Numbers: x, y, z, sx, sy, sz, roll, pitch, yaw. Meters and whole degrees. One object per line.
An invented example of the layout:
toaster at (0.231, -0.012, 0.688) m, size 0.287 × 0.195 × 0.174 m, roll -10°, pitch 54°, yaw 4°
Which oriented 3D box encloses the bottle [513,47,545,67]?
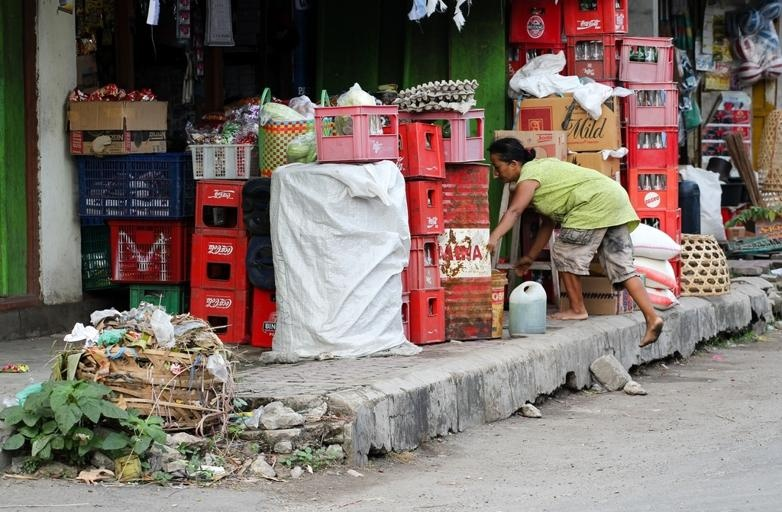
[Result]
bottle at (1.649, -2.343, 10.911) m, size 0.262 × 0.259 × 0.263 m, roll -2°, pitch 5°, yaw -21°

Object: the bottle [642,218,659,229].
bottle at (3.029, -0.387, 10.574) m, size 0.214 × 0.159 × 0.125 m, roll 0°, pitch -5°, yaw 3°

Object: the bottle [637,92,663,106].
bottle at (2.995, -1.805, 10.396) m, size 0.197 × 0.088 × 0.199 m, roll -1°, pitch 5°, yaw 0°

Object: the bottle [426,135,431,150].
bottle at (0.335, -1.029, 8.183) m, size 0.043 × 0.103 × 0.078 m, roll -5°, pitch 3°, yaw -4°

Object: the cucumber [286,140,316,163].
cucumber at (-0.804, -0.926, 8.184) m, size 0.228 × 0.178 × 0.090 m, roll -13°, pitch -27°, yaw 10°

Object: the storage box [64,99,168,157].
storage box at (-2.776, -1.206, 9.252) m, size 0.667 × 0.429 × 0.686 m, roll 0°, pitch 1°, yaw -17°

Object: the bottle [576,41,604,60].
bottle at (2.355, -2.420, 10.751) m, size 0.345 × 0.250 × 0.200 m, roll 0°, pitch 1°, yaw 9°

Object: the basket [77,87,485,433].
basket at (-0.469, -0.092, 8.508) m, size 3.230 × 2.400 × 1.791 m, roll -4°, pitch -6°, yaw 30°
